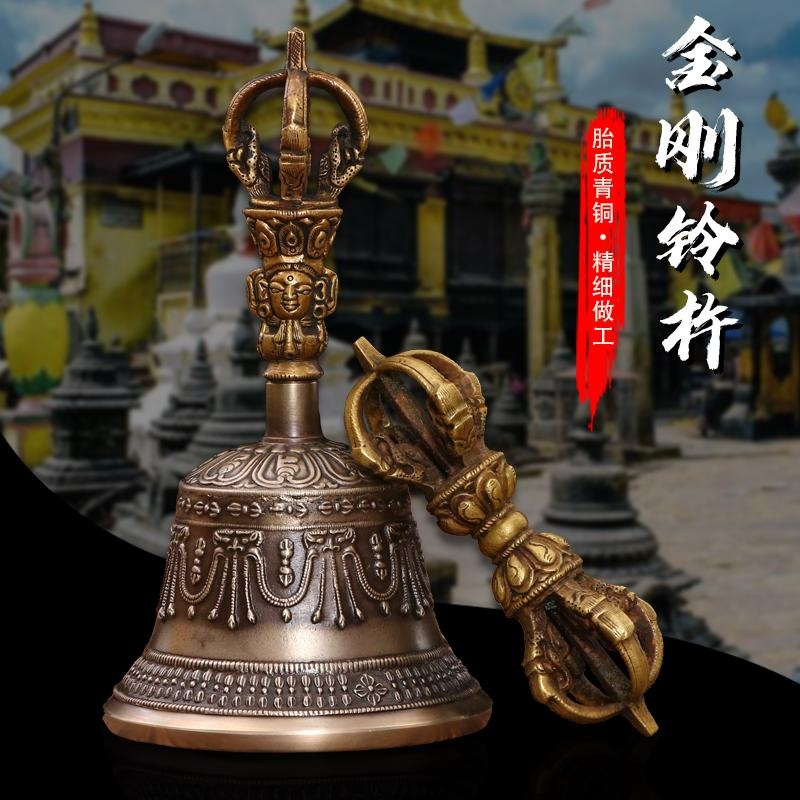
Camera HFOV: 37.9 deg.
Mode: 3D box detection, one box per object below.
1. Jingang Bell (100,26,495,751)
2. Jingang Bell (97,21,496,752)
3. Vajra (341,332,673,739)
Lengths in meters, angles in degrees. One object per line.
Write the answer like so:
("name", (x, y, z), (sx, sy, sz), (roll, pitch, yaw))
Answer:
("Jingang Bell", (-0.146, -0.043, 1.507), (0.556, 0.854, 0.526), (6, 2, 7))
("Jingang Bell", (-0.121, -0.005, 1.639), (0.701, 0.774, 0.584), (0, -1, -10))
("Vajra", (0.126, 0.174, 1.400), (0.187, 0.564, 0.235), (-30, -11, -36))
